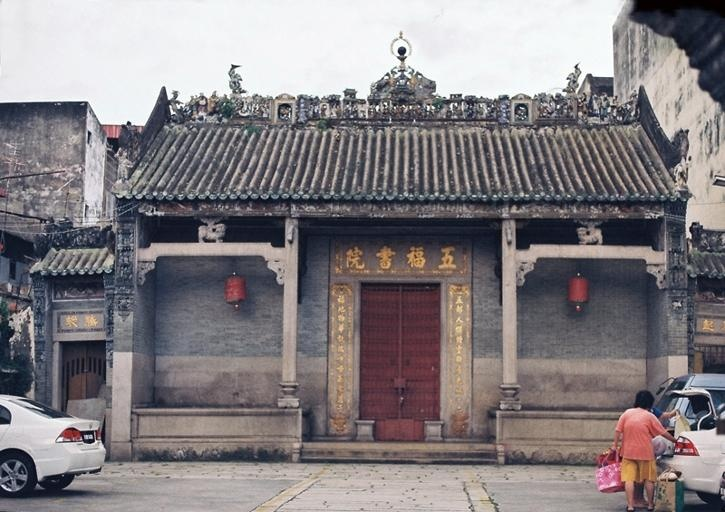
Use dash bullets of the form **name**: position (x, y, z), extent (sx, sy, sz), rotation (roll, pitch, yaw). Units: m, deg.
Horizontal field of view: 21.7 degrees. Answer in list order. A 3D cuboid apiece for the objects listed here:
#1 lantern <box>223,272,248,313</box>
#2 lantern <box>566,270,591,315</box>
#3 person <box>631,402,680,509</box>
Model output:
- **lantern**: position (-3.227, 0.866, 49.135), extent (0.804, 0.915, 0.787), rotation (-8, -13, 19)
- **lantern**: position (5.619, 0.919, 48.853), extent (0.860, 1.387, 0.804), rotation (3, -51, 8)
- **person**: position (6.520, 4.455, 42.158), extent (1.283, 1.939, 0.580), rotation (5, 1, 33)
